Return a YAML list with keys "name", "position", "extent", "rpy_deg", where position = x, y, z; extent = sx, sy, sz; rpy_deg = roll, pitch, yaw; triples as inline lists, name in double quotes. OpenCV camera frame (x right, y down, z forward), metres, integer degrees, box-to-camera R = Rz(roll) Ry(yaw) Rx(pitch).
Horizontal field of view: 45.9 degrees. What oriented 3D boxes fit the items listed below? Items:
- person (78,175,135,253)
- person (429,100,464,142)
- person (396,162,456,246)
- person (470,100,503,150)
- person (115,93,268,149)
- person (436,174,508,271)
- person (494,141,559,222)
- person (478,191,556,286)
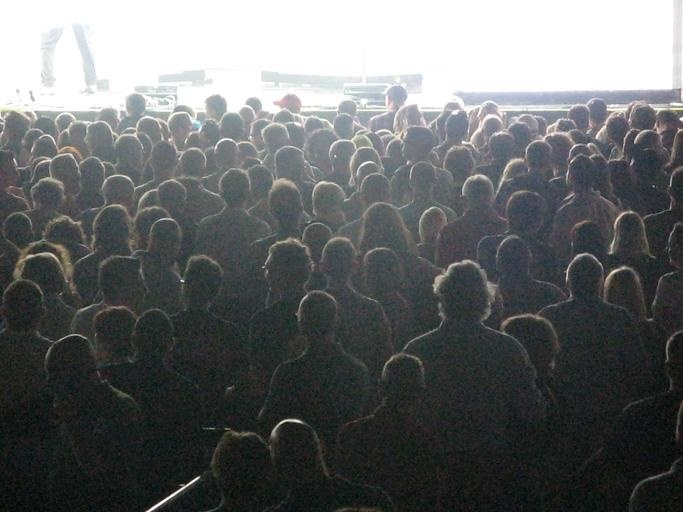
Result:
- name: "person"
  position: [-1.805, -0.244, 6.462]
  extent: [0.352, 0.820, 0.370]
  rpy_deg: [-2, -9, 37]
- name: "person"
  position: [1.270, -1.688, 9.914]
  extent: [0.487, 0.372, 0.766]
  rpy_deg: [7, 39, 3]
- name: "person"
  position: [0.731, -0.441, 7.053]
  extent: [0.775, 0.623, 0.379]
  rpy_deg: [-4, 22, -2]
- name: "person"
  position: [1.756, -1.593, 9.835]
  extent: [0.381, 0.372, 1.016]
  rpy_deg: [-6, 12, 8]
- name: "person"
  position: [-1.633, -1.675, 9.430]
  extent: [1.190, 0.374, 0.898]
  rpy_deg: [2, 9, 13]
- name: "person"
  position: [1.178, -0.254, 6.884]
  extent: [0.865, 0.797, 0.455]
  rpy_deg: [-8, 14, 1]
- name: "person"
  position: [1.683, -0.658, 7.258]
  extent: [0.831, 0.695, 0.414]
  rpy_deg: [2, 21, 9]
- name: "person"
  position: [1.378, -0.128, 6.356]
  extent: [0.763, 0.761, 0.420]
  rpy_deg: [2, 21, 7]
